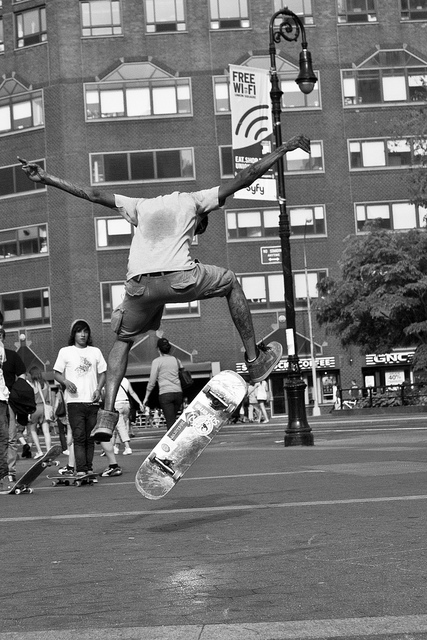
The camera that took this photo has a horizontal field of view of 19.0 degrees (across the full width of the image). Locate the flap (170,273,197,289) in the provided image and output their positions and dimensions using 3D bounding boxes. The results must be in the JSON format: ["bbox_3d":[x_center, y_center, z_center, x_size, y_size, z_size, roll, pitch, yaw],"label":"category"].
[{"bbox_3d":[-0.169,-0.205,6.996,0.090,0.032,0.089,-25,2,-21],"label":"flap"}]

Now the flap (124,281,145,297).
[{"bbox_3d":[-0.438,-0.168,7.083,0.090,0.080,0.046,8,-46,-49],"label":"flap"}]

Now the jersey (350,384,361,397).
[{"bbox_3d":[5.155,2.605,46.795,0.320,0.315,1.086,-4,-2,6],"label":"jersey"}]

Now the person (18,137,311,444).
[{"bbox_3d":[-0.249,-0.150,7.255,1.415,1.648,0.545,-3,-2,-9],"label":"person"}]

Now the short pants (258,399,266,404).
[{"bbox_3d":[1.258,2.185,33.847,0.263,0.142,0.255,1,0,11],"label":"short pants"}]

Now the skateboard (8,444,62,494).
[{"bbox_3d":[-1.480,1.256,10.618,0.416,0.350,0.780,-3,-2,-5],"label":"skateboard"}]

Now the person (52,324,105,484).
[{"bbox_3d":[-1.164,0.749,11.604,0.547,1.466,0.427,-3,4,-27],"label":"person"}]
